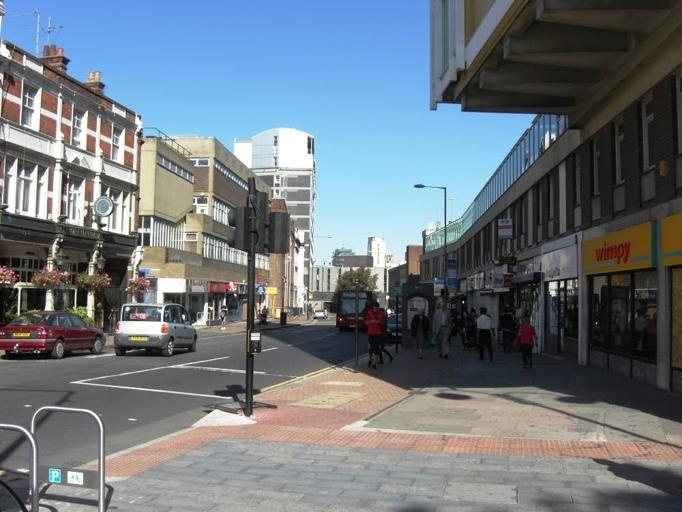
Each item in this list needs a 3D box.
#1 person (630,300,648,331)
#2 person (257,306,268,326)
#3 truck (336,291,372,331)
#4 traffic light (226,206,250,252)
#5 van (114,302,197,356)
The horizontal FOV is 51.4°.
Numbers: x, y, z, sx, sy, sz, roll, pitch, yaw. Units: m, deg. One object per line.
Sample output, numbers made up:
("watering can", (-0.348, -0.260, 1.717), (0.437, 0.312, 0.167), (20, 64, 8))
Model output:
("person", (8.035, 1.608, 18.976), (0.484, 1.085, 0.558), (0, -7, 15))
("person", (-6.386, 4.921, 58.377), (0.555, 1.454, 3.004), (1, -9, -10))
("truck", (0.733, 3.803, 52.280), (1.742, 2.130, 4.856), (0, -8, 1))
("traffic light", (-2.051, -0.519, 14.157), (0.397, 0.913, 0.488), (1, -8, -11))
("van", (-6.617, 2.645, 25.634), (1.569, 1.902, 2.919), (-7, -11, 35))
